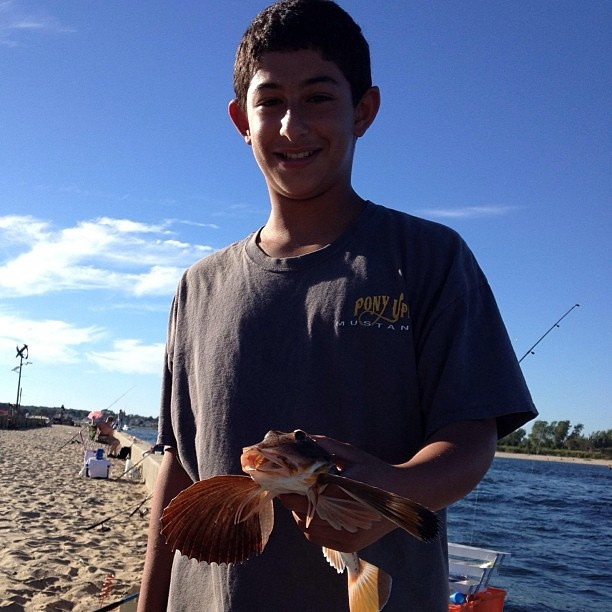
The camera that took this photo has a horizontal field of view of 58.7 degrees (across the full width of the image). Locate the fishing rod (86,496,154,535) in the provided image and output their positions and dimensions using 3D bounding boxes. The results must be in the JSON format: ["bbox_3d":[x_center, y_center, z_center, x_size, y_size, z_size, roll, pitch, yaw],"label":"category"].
[{"bbox_3d":[-3.884,4.286,11.167,0.484,0.144,1.647,0,6,33],"label":"fishing rod"}]

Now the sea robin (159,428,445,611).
[{"bbox_3d":[0.050,0.469,1.228,0.498,0.206,0.495,-18,-55,46],"label":"sea robin"}]
